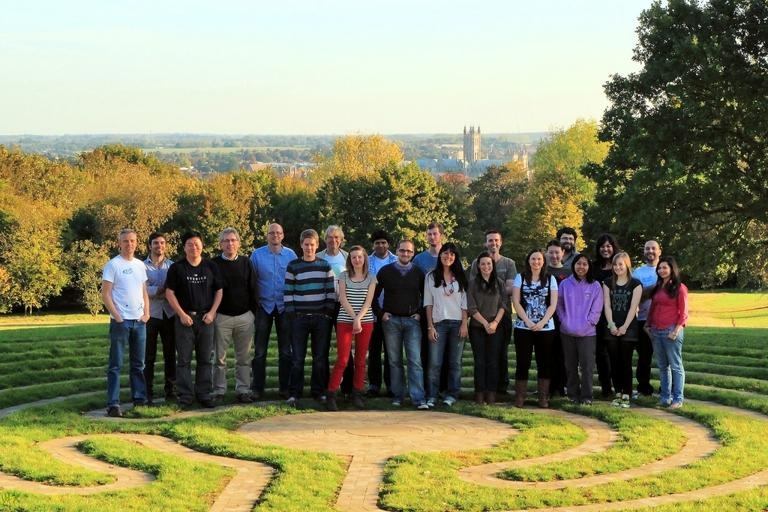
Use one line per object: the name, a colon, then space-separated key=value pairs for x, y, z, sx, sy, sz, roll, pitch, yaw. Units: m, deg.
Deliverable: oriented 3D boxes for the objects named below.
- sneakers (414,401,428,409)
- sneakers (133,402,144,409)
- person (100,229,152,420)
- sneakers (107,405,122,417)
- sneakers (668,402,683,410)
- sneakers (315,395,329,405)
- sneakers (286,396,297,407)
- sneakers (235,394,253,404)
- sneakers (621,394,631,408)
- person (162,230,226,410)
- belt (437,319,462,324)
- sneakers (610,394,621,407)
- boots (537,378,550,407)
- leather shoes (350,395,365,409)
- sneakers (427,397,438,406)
sneakers: x=0.781 y=3.071 z=16.005 sx=0.257 sy=0.121 sz=0.217 roll=-1 pitch=8 yaw=-6
sneakers: x=-4.986 y=3.027 z=15.730 sx=0.149 sy=0.151 sz=0.118 roll=2 pitch=-4 yaw=5
person: x=-5.167 y=1.289 z=15.541 sx=0.945 sy=3.634 sz=0.692 roll=-4 pitch=9 yaw=-29
sneakers: x=-5.328 y=3.062 z=15.356 sx=0.148 sy=0.177 sz=0.396 roll=4 pitch=-9 yaw=-33
sneakers: x=6.010 y=3.070 z=15.982 sx=0.261 sy=0.091 sz=0.337 roll=3 pitch=8 yaw=20
sneakers: x=-1.295 y=2.988 z=16.166 sx=0.130 sy=0.140 sz=0.304 roll=1 pitch=-10 yaw=-24
sneakers: x=-1.885 y=2.987 z=16.034 sx=0.267 sy=0.160 sz=0.342 roll=-2 pitch=8 yaw=-14
sneakers: x=-2.960 y=3.007 z=16.406 sx=0.400 sy=0.169 sz=0.140 roll=-3 pitch=-2 yaw=41
sneakers: x=5.013 y=3.008 z=16.111 sx=0.147 sy=0.259 sz=0.253 roll=0 pitch=-11 yaw=6
person: x=-3.877 y=1.294 z=15.894 sx=1.094 sy=3.549 sz=0.632 roll=-2 pitch=8 yaw=-16
belt: x=1.345 y=1.351 z=16.118 sx=0.482 sy=0.084 sz=0.040 roll=1 pitch=8 yaw=3
sneakers: x=4.860 y=3.060 z=16.285 sx=0.186 sy=0.284 sz=0.244 roll=-5 pitch=39 yaw=-5
boots: x=3.326 y=2.813 z=16.192 sx=0.215 sy=0.618 sz=0.268 roll=2 pitch=8 yaw=11
leather shoes: x=-0.552 y=2.981 z=16.148 sx=0.285 sy=0.266 sz=0.479 roll=0 pitch=8 yaw=-2
sneakers: x=0.988 y=3.020 z=16.118 sx=0.117 sy=0.170 sz=0.066 roll=-4 pitch=-15 yaw=4
